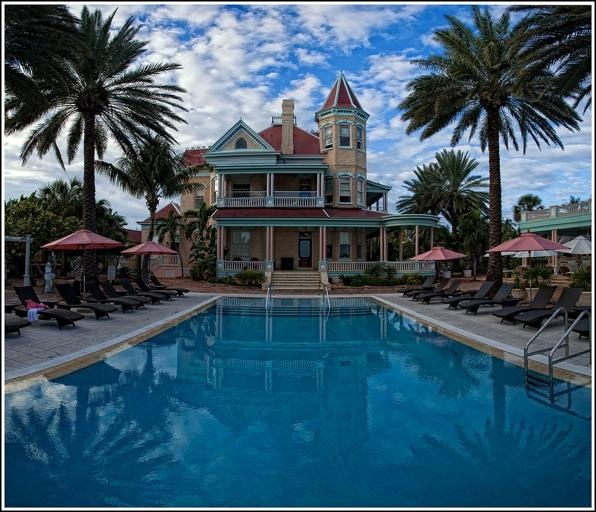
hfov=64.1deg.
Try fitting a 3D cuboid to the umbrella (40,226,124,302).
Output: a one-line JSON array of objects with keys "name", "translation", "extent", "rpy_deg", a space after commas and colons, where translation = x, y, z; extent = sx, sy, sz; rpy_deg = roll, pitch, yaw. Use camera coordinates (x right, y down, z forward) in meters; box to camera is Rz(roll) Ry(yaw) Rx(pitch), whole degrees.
[{"name": "umbrella", "translation": [-8.581, 0.343, 19.301], "extent": [3.025, 2.370, 3.086], "rpy_deg": [1, -3, -34]}]
